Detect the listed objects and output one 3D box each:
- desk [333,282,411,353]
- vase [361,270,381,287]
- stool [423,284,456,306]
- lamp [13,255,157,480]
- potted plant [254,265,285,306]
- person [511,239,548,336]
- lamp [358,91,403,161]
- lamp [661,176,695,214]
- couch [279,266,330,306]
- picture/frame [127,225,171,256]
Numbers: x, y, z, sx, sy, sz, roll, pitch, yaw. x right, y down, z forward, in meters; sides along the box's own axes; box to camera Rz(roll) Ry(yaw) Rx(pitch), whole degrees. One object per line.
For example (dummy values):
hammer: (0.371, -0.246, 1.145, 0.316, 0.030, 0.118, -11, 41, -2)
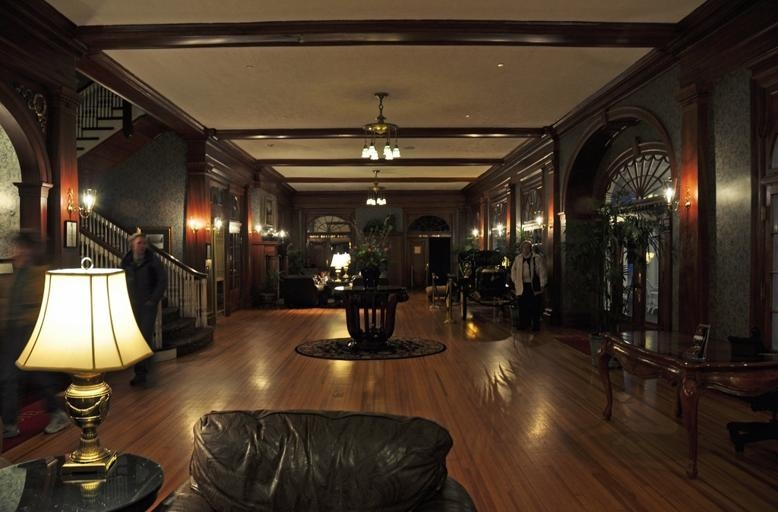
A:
desk: (-0.326, 1.073, 9.234, 1.295, 1.064, 1.327, 0, -4, -30)
vase: (-0.316, 0.348, 8.874, 0.307, 0.319, 0.254, -1, 12, -4)
stool: (1.431, 1.016, 14.018, 0.636, 0.340, 0.728, -1, 2, 2)
lamp: (-2.168, 0.635, 3.948, 1.113, 1.860, 1.138, -3, 5, -33)
potted plant: (-3.420, 0.955, 14.848, 0.782, 1.332, 0.877, 4, -10, -24)
person: (2.857, 0.582, 10.508, 0.630, 1.861, 0.603, 7, 14, 32)
lamp: (-0.134, -2.428, 9.251, 0.692, 1.083, 0.676, -13, 20, -41)
lamp: (4.027, -0.838, 7.145, 0.226, 0.473, 0.713, 3, 13, 16)
couch: (-2.443, 0.873, 15.224, 1.025, 0.798, 1.058, 0, 3, 6)
picture/frame: (-4.286, -0.305, 9.160, 0.622, 0.755, 0.053, -1, -4, -3)
